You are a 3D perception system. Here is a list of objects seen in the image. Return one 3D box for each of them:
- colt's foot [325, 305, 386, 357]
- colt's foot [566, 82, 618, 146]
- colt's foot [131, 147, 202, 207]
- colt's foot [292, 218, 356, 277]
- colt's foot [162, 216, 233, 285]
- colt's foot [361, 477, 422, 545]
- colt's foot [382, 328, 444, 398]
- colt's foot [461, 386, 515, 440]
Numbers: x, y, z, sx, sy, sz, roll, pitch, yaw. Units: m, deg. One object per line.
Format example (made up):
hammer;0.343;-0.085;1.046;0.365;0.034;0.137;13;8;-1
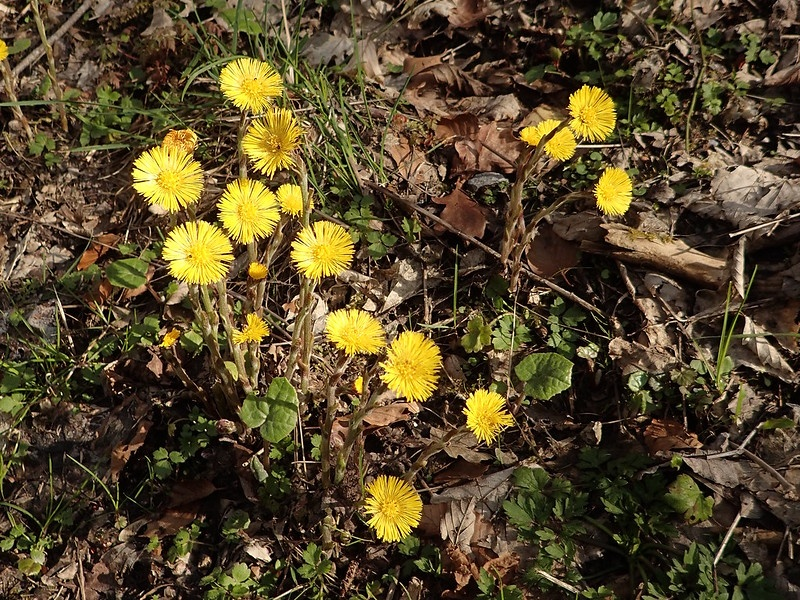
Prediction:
colt's foot;-0.184;0.142;2.773;0.202;0.084;0.205;38;52;5
colt's foot;0.814;-0.807;2.980;0.203;0.184;0.221;-5;64;1
colt's foot;-0.924;-0.549;2.818;0.238;0.247;0.094;-4;88;37
colt's foot;-0.298;-0.194;2.785;0.212;0.216;0.281;4;65;6
colt's foot;-0.803;-0.178;2.800;0.260;0.105;0.257;-6;84;-13
colt's foot;-0.057;0.813;2.813;0.201;0.080;0.214;-5;28;37
colt's foot;0.030;0.209;2.597;0.208;0.091;0.202;-6;28;-23
colt's foot;0.335;0.464;2.762;0.195;0.233;0.164;-42;69;-15
